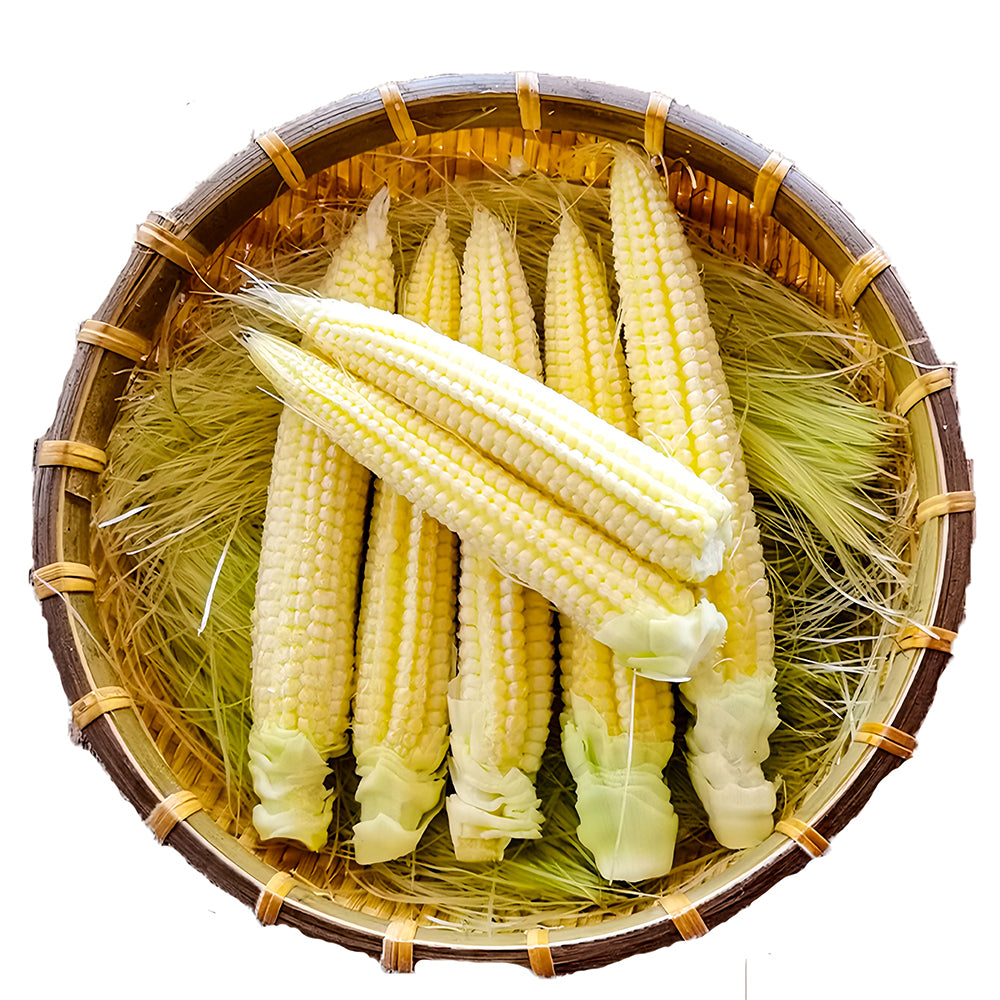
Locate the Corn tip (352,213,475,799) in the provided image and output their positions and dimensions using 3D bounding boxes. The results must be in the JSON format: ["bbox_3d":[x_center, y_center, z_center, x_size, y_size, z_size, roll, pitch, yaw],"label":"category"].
[{"bbox_3d":[-0.141,0.025,2.556,0.212,1.003,0.204,11,-11,-31],"label":"Corn tip"}]

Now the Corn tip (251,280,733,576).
[{"bbox_3d":[-0.005,-0.125,2.357,0.946,0.188,0.158,27,-50,15],"label":"Corn tip"}]
